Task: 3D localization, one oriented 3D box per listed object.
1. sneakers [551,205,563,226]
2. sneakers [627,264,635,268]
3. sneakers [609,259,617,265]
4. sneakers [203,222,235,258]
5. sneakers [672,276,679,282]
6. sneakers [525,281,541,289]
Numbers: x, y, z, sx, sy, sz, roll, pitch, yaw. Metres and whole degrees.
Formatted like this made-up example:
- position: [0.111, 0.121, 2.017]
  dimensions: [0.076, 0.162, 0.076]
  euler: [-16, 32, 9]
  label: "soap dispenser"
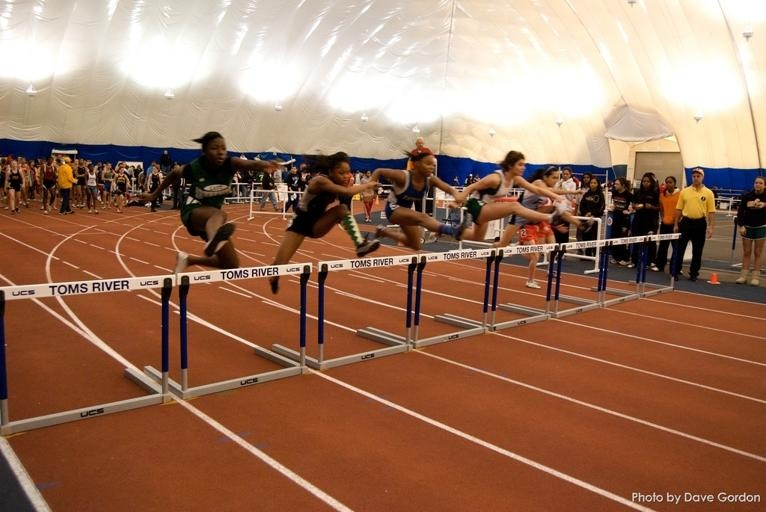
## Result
- position: [3.015, -0.730, 9.747]
  dimensions: [0.142, 0.393, 0.181]
  euler: [8, -5, -34]
  label: "sneakers"
- position: [6.600, 0.257, 14.881]
  dimensions: [0.110, 0.113, 0.310]
  euler: [0, 0, 36]
  label: "sneakers"
- position: [6.345, 0.155, 15.428]
  dimensions: [0.091, 0.114, 0.267]
  euler: [-4, 3, -11]
  label: "sneakers"
- position: [-2.046, -0.242, 7.028]
  dimensions: [0.232, 0.577, 0.256]
  euler: [44, -8, -15]
  label: "sneakers"
- position: [6.724, 0.524, 12.834]
  dimensions: [0.091, 0.202, 0.092]
  euler: [21, -9, 29]
  label: "sneakers"
- position: [3.223, 0.631, 11.787]
  dimensions: [0.414, 0.181, 0.134]
  euler: [4, 18, 8]
  label: "sneakers"
